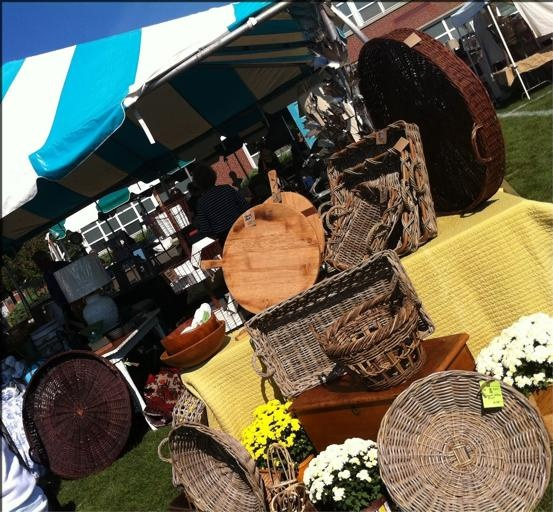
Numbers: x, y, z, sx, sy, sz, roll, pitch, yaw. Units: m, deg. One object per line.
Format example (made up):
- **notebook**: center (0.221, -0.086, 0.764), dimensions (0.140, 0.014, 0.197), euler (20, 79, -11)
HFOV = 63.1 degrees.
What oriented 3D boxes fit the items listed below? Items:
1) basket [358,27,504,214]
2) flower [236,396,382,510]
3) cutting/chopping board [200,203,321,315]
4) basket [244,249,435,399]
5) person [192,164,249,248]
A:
- **basket**: center (1.016, -0.957, 3.138), dimensions (0.473, 1.122, 1.117), euler (-34, 8, 0)
- **flower**: center (0.166, 1.009, 2.336), dimensions (0.422, 0.285, 0.657), euler (-50, 17, -21)
- **cutting/chopping board**: center (-0.058, 0.004, 3.041), dimensions (0.730, 0.740, 0.572), euler (-3, 17, 6)
- **basket**: center (0.382, 0.355, 2.643), dimensions (1.115, 0.625, 0.350), euler (-30, -12, 31)
- **person**: center (-0.572, -0.553, 4.623), dimensions (0.550, 0.883, 0.486), euler (-1, 14, 1)
